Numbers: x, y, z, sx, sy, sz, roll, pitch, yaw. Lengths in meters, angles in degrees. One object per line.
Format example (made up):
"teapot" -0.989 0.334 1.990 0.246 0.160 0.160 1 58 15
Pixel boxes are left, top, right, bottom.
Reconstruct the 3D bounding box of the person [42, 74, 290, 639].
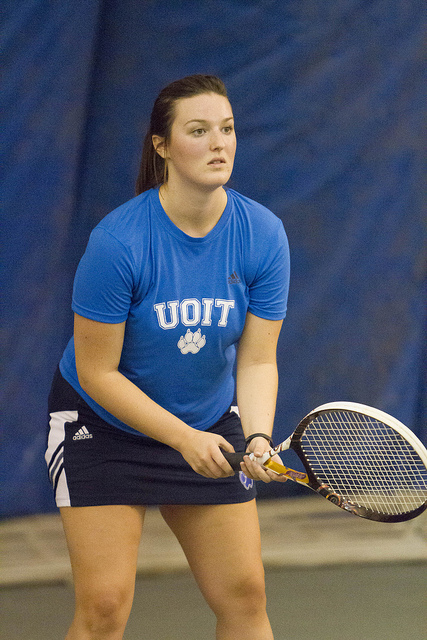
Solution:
"person" -0.095 0.093 1.747 0.595 1.294 0.453 -2 10 -13
